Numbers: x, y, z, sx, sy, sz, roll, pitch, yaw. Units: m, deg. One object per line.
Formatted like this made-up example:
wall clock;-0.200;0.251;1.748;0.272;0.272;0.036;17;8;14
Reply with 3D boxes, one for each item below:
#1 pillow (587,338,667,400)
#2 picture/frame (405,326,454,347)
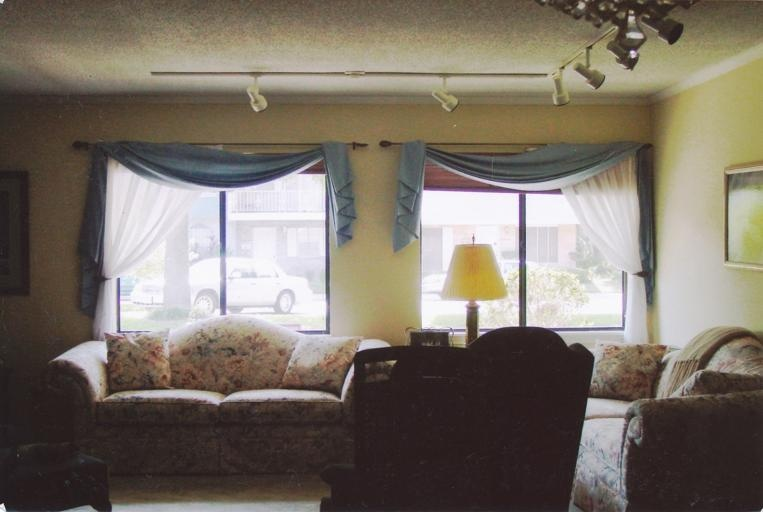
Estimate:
pillow;1.833;0.880;5.467;0.528;0.507;0.244;10;-9;31
picture/frame;0.388;0.644;5.829;0.382;0.172;0.201;0;-7;2
